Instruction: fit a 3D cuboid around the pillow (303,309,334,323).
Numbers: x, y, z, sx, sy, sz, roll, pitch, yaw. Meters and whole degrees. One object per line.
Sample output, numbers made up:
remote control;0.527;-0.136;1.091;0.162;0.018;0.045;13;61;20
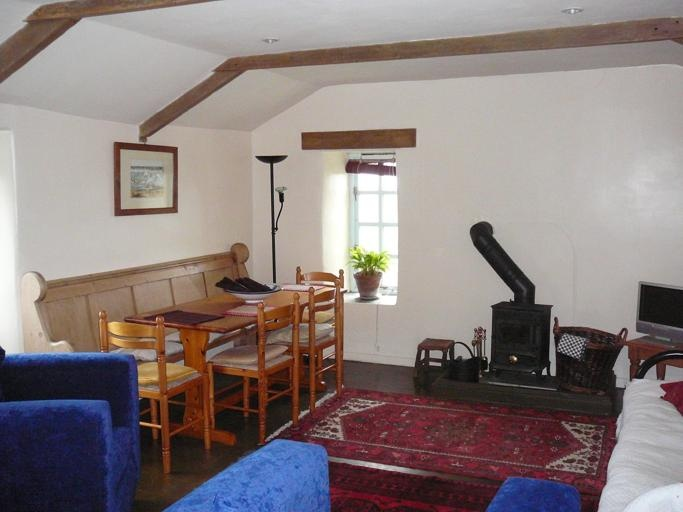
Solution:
pillow;-0.236;0.624;5.891;0.232;0.064;0.230;1;7;6

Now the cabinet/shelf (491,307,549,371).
cabinet/shelf;1.730;0.796;5.546;0.529;0.591;0.493;2;2;28

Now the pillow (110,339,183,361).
pillow;-1.483;0.719;4.351;0.330;0.079;0.356;2;3;21

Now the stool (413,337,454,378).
stool;1.014;1.114;6.209;0.439;0.375;0.417;0;4;12

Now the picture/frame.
picture/frame;-1.928;-0.776;5.643;0.789;0.659;0.056;5;6;23

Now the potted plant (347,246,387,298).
potted plant;0.345;0.184;7.170;0.608;0.637;0.662;0;3;4

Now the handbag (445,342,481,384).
handbag;1.278;1.107;5.845;0.389;0.345;0.274;3;-5;-41

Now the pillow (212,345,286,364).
pillow;-0.758;0.826;4.783;0.334;0.086;0.348;-2;0;21

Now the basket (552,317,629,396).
basket;2.368;0.921;5.416;0.612;0.501;0.617;4;3;17

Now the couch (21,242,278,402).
couch;-1.701;0.576;5.668;0.822;0.942;2.677;16;13;27
